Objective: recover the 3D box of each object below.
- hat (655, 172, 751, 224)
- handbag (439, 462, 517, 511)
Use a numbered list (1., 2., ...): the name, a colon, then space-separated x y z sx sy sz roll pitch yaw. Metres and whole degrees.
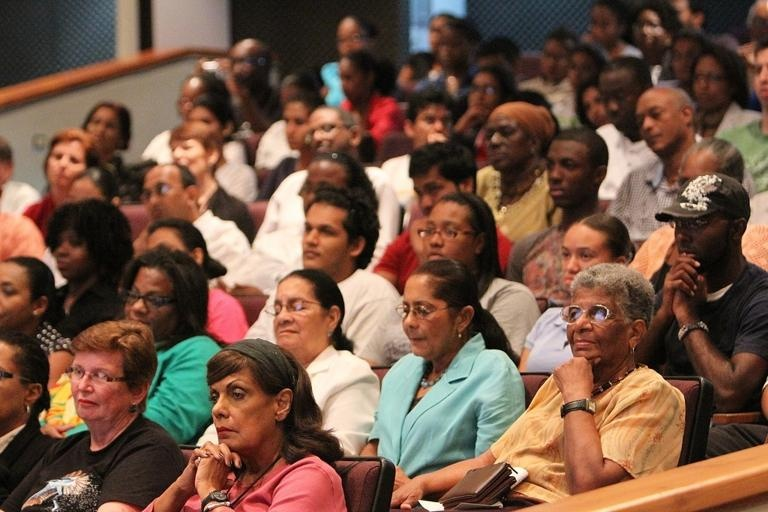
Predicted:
1. hat: 1.500 -0.273 4.236 0.451 0.227 0.324 6 4 -26
2. handbag: 0.377 0.925 3.510 0.203 0.060 0.206 -27 -4 36
